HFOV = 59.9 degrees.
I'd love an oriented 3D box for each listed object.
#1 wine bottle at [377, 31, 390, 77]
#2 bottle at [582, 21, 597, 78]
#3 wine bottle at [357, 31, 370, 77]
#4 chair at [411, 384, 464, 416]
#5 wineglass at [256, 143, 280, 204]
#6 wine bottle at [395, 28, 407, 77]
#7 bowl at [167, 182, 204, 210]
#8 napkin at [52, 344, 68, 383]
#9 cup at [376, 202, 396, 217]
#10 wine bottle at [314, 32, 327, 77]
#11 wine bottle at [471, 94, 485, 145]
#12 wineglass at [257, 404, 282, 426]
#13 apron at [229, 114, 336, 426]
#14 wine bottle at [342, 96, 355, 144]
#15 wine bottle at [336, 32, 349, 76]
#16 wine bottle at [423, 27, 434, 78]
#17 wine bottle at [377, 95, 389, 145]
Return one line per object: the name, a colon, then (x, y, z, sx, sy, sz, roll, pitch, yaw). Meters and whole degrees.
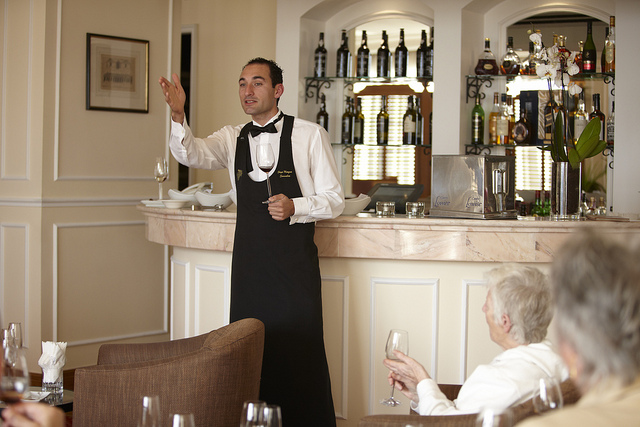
wine bottle: (0.631, -1.569, 5.535, 0.131, 0.428, 0.165, 0, 3, 31)
bottle: (2.403, -1.400, 4.945, 0.153, 0.376, 0.089, -1, 2, -9)
wine bottle: (0.440, -1.594, 5.595, 0.123, 0.449, 0.083, -1, 2, 4)
chair: (0.573, 0.919, 2.753, 0.199, 0.230, 0.232, 0, -5, -2)
wineglass: (-0.283, -0.217, 3.018, 0.114, 0.331, 0.258, -1, 2, -3)
wine bottle: (0.802, -1.572, 5.484, 0.119, 0.453, 0.078, -1, 2, 7)
bowl: (-0.951, -0.121, 3.930, 0.230, 0.166, 0.179, 1, -2, -1)
napkin: (-1.393, 0.781, 2.955, 0.063, 0.201, 0.122, -2, 3, -25)
cup: (0.411, -0.031, 3.530, 0.092, 0.070, 0.095, 2, 1, 0)
wine bottle: (0.012, -1.598, 5.615, 0.154, 0.450, 0.101, -2, 2, -17)
wine bottle: (1.456, -0.867, 5.125, 0.109, 0.458, 0.100, -1, 2, 0)
wineglass: (-0.152, 0.629, 1.751, 0.065, 0.065, 0.067, 2, -5, -10)
apron: (-0.234, 0.358, 3.202, 0.574, 1.736, 0.239, 0, 2, 24)
wine bottle: (0.290, -0.936, 5.618, 0.125, 0.455, 0.107, -1, 2, 1)
wine bottle: (0.238, -1.613, 5.625, 0.124, 0.436, 0.059, -1, 2, 1)
wine bottle: (1.051, -1.562, 5.394, 0.093, 0.485, 0.163, 0, 2, 12)
wine bottle: (0.631, -0.945, 5.591, 0.104, 0.500, 0.070, -1, 2, 5)
